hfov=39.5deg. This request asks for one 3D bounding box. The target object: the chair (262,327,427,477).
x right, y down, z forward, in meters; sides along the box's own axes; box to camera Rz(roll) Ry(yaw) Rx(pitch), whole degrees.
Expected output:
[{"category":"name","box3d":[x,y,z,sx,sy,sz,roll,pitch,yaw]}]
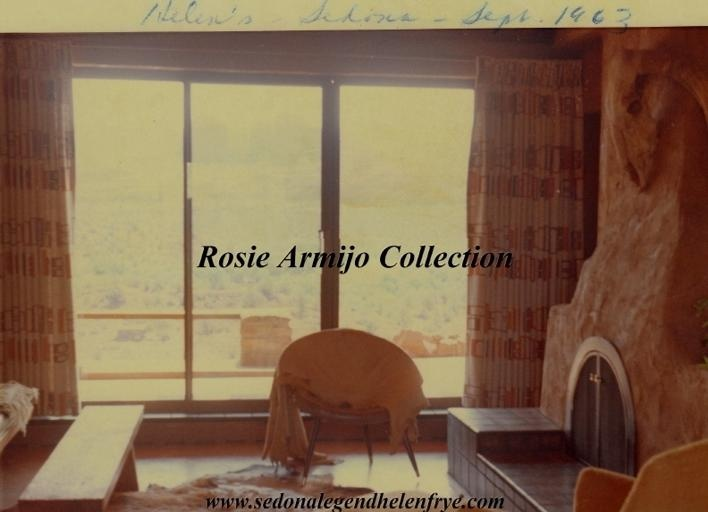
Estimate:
[{"category":"chair","box3d":[-0.065,0.975,6.421,0.975,0.951,0.947,1,-2,12]}]
